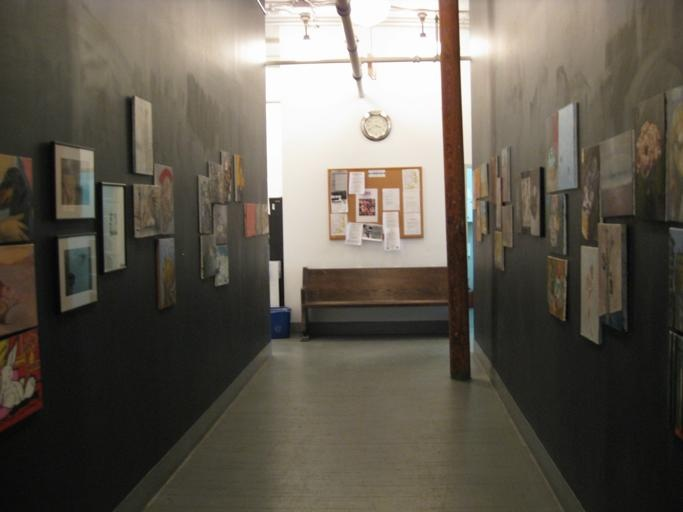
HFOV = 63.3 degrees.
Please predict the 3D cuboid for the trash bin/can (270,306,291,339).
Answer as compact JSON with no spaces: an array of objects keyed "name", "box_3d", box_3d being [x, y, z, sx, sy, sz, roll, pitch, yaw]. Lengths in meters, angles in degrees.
[{"name":"trash bin/can","box_3d":[-0.806,0.886,7.308,0.240,0.355,0.263,-1,5,-7]}]
